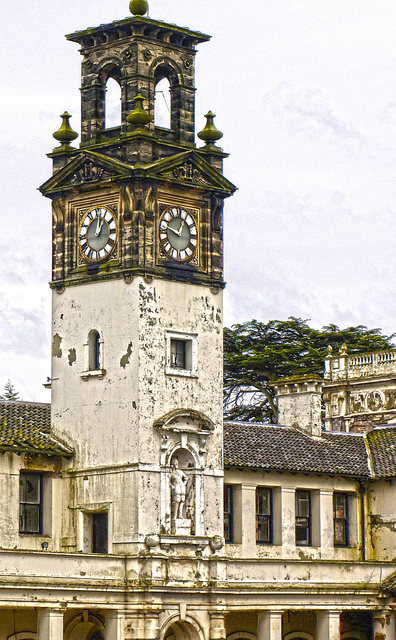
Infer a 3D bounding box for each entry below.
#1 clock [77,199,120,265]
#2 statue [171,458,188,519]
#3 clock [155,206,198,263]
[{"bbox_3d":[-2.726,-2.211,58.561,0.312,1.728,1.953,8,-15,-35],"label":"clock"},{"bbox_3d":[-0.530,4.496,57.498,0.366,1.644,0.423,1,-11,-3],"label":"statue"},{"bbox_3d":[-0.548,-2.239,58.643,0.153,1.569,1.871,-7,-15,33],"label":"clock"}]
